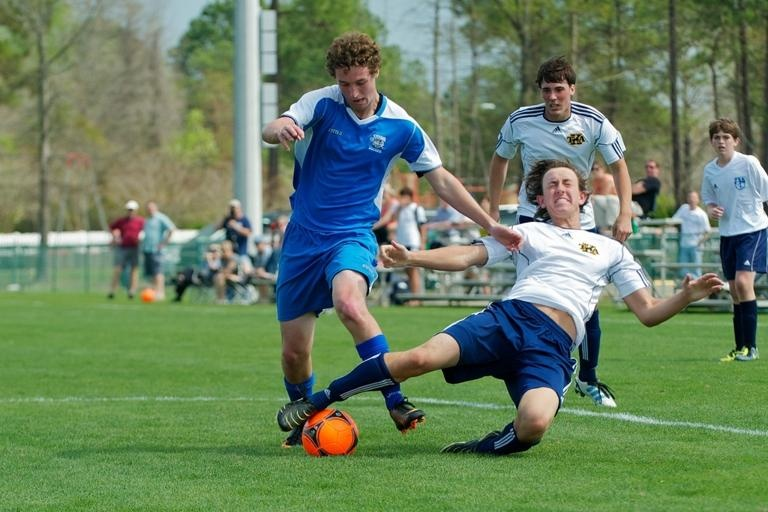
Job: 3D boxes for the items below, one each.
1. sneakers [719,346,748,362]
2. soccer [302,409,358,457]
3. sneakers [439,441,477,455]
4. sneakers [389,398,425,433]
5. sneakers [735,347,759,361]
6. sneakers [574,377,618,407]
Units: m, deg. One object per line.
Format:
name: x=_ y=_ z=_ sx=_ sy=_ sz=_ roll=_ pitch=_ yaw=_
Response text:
sneakers: x=3.376 y=0.959 z=13.677 sx=0.303 sy=0.129 sz=0.111 roll=-1 pitch=-5 yaw=4
soccer: x=-0.404 y=1.472 z=11.371 sx=0.366 sy=0.366 sz=0.363 roll=9 pitch=-20 yaw=-8
sneakers: x=0.579 y=1.516 z=11.207 sx=0.316 sy=0.135 sz=0.100 roll=7 pitch=39 yaw=-7
sneakers: x=0.184 y=1.266 z=11.289 sx=0.179 sy=0.245 sz=0.485 roll=-12 pitch=-8 yaw=-29
sneakers: x=3.470 y=0.961 z=13.631 sx=0.271 sy=0.113 sz=0.094 roll=6 pitch=-9 yaw=-42
sneakers: x=1.873 y=1.210 z=12.512 sx=0.400 sy=0.151 sz=0.181 roll=22 pitch=-8 yaw=19
